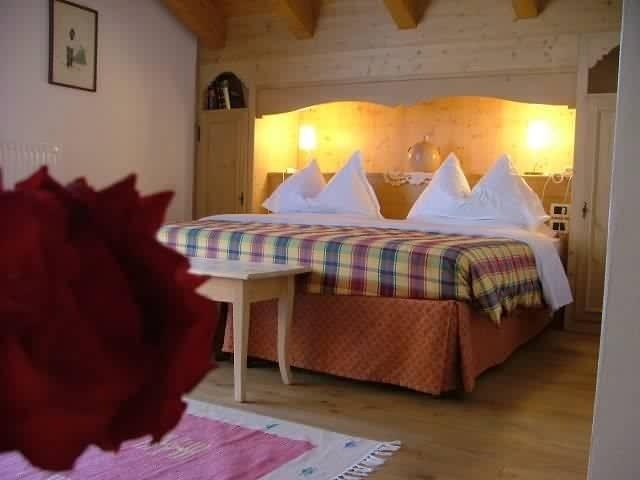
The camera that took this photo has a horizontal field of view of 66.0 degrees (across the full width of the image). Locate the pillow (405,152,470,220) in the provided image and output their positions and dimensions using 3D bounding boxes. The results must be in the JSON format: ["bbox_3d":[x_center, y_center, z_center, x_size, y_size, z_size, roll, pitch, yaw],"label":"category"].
[{"bbox_3d":[0.902,-0.370,3.711,0.382,0.494,0.469,22,36,34],"label":"pillow"}]

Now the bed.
[{"bbox_3d":[0.550,0.138,2.677,1.098,0.728,1.142,1,0,36],"label":"bed"}]

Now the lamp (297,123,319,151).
[{"bbox_3d":[-0.161,-1.181,5.659,0.226,0.322,0.181,2,2,10],"label":"lamp"}]
